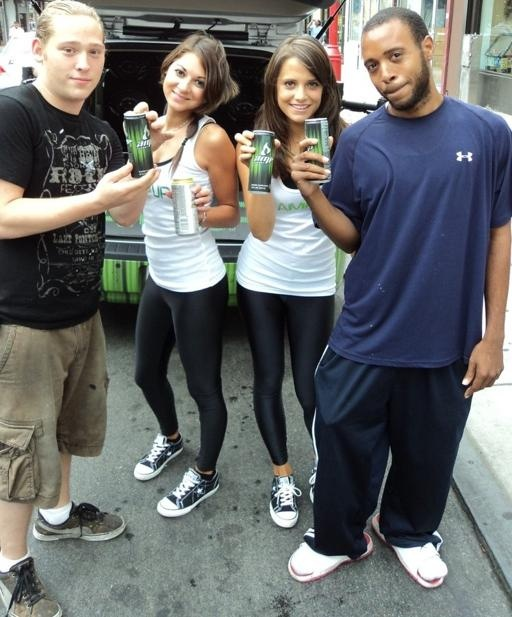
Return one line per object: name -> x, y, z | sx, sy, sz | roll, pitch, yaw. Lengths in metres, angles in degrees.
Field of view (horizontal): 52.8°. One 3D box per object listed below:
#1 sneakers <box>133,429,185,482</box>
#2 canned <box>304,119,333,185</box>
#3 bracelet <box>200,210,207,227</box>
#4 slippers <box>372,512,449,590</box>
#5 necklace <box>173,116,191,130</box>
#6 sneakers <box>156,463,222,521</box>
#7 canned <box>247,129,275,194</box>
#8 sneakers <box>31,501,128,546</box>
sneakers -> -0.446, 0.675, 2.448 | 0.093, 0.134, 0.298 | 27, 24, 12
canned -> 0.181, -0.452, 1.507 | 0.072, 0.205, 0.158 | 0, 23, 7
bracelet -> -0.190, -0.330, 1.861 | 0.016, 0.054, 0.036 | 5, 13, 22
slippers -> 0.565, 0.842, 1.831 | 0.083, 0.107, 0.232 | -10, 26, -15
necklace -> -0.275, -0.704, 1.942 | 0.057, 0.049, 0.049 | 5, 7, 6
sneakers -> -0.282, 0.769, 2.202 | 0.107, 0.139, 0.296 | 29, 27, 32
canned -> 0.017, -0.460, 1.603 | 0.084, 0.183, 0.059 | -2, 22, 1
sneakers -> -0.648, 0.788, 1.999 | 0.363, 0.183, 0.144 | 5, 0, -17
